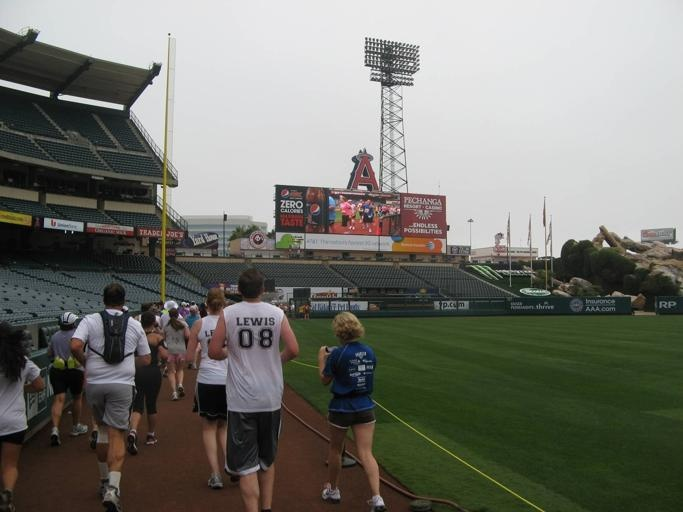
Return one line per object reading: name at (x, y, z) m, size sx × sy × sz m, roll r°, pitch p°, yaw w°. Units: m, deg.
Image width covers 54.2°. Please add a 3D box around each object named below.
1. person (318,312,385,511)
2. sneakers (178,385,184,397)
person at (0.148, 2.294, 9.913) m, size 1.012 × 2.908 × 0.824 m, roll 2°, pitch -1°, yaw 4°
sneakers at (-3.596, 3.052, 14.932) m, size 0.100 × 0.110 × 0.272 m, roll -4°, pitch -40°, yaw -10°
